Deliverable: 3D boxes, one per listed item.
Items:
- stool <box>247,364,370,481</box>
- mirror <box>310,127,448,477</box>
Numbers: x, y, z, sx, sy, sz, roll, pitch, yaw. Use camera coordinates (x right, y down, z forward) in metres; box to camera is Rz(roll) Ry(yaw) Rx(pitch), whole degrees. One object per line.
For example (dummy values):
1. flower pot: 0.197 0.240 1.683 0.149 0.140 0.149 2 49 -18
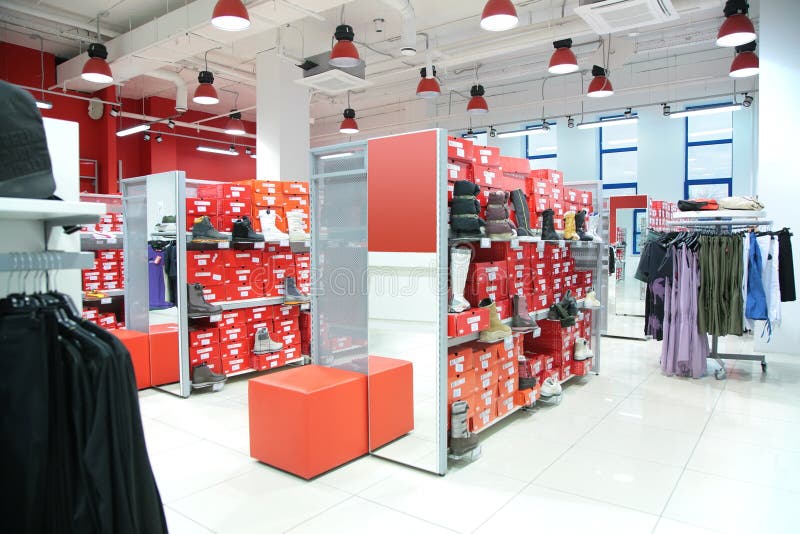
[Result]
1. stool: -0.943 1.364 5.265 0.929 0.868 0.963 4 6 41
2. mirror: -0.233 0.063 5.266 1.196 2.269 0.102 1 12 8
